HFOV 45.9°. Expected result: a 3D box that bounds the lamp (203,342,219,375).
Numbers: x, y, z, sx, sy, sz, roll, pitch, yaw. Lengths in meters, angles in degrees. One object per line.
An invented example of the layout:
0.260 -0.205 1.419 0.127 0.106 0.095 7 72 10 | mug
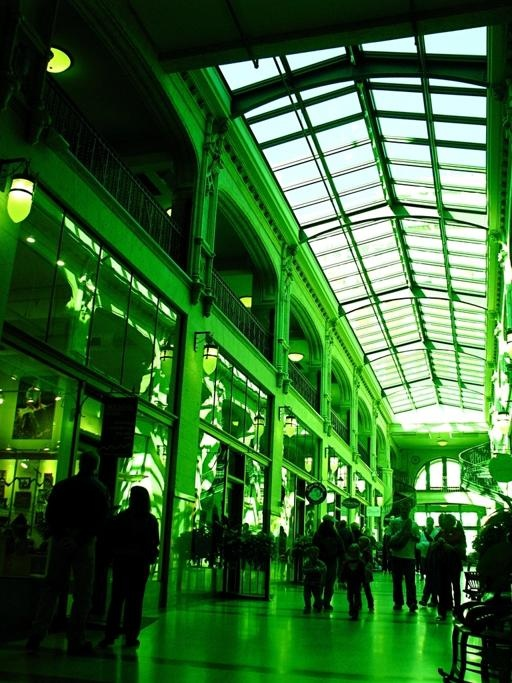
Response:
-0.881 0.301 11.553 0.258 0.684 0.312 9 -22 -9 | lamp

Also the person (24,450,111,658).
-1.356 1.523 4.482 0.504 1.414 0.261 11 -22 -15 | person
